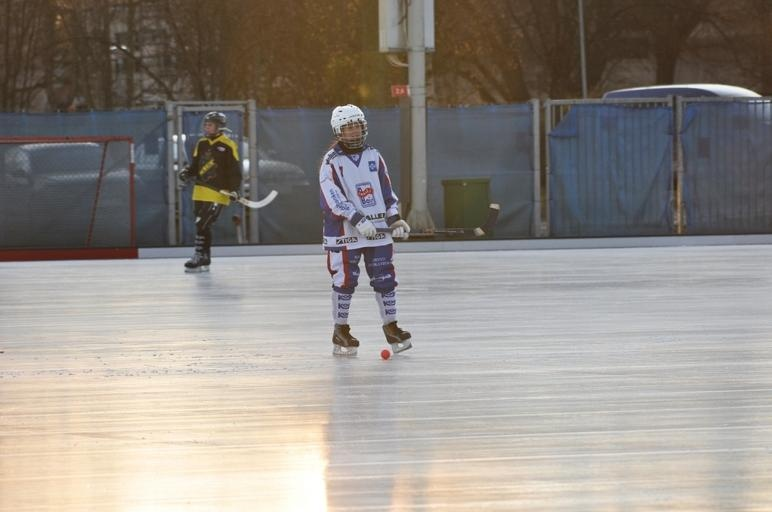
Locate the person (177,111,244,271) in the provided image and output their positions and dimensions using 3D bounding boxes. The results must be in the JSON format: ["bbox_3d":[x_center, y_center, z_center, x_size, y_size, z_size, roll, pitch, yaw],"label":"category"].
[{"bbox_3d":[-3.119,-1.134,30.499,1.043,2.742,0.553,-1,0,3],"label":"person"}]

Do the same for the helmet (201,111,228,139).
[{"bbox_3d":[-3.038,-2.300,30.449,0.360,0.452,0.436,-1,0,-4],"label":"helmet"}]

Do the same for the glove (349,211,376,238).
[{"bbox_3d":[-0.322,-0.408,23.815,0.393,0.146,0.286,39,-13,24],"label":"glove"}]

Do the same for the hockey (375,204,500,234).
[{"bbox_3d":[0.749,-0.454,28.001,2.301,0.535,0.187,-4,-34,24],"label":"hockey"}]
